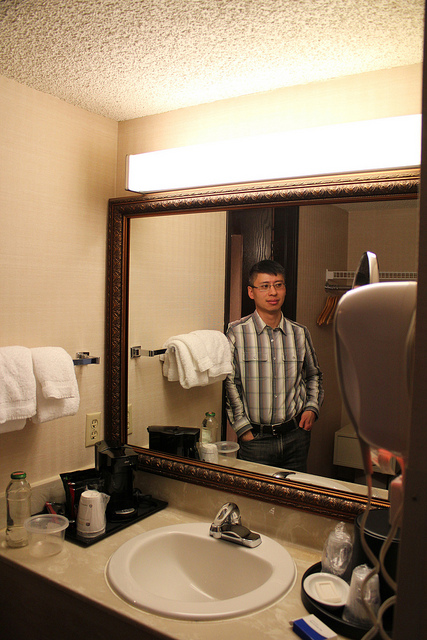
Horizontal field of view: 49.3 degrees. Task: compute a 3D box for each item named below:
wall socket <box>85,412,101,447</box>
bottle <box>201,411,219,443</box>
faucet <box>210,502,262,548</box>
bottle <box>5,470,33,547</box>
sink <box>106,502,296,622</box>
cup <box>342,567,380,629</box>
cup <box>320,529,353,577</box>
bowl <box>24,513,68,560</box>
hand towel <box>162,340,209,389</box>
[{"bbox_3d":[-0.424,0.380,1.633,0.007,0.113,0.075,0,2,31],"label":"wall socket"},{"bbox_3d":[-0.012,0.330,1.444,0.011,0.098,0.065,-2,2,-44],"label":"bottle"},{"bbox_3d":[0.056,0.545,1.261,0.138,0.098,0.076,4,6,30],"label":"faucet"},{"bbox_3d":[-0.557,0.510,1.323,0.073,0.192,0.170,-1,2,-21],"label":"bottle"},{"bbox_3d":[-0.032,0.615,1.131,0.451,0.226,0.382,-1,2,10],"label":"sink"},{"bbox_3d":[0.287,0.532,0.903,0.070,0.118,0.097,0,2,19],"label":"cup"},{"bbox_3d":[0.301,0.549,1.118,0.068,0.124,0.066,-2,14,0],"label":"cup"},{"bbox_3d":[-0.447,0.573,1.244,0.092,0.060,0.092,1,10,0],"label":"bowl"},{"bbox_3d":[-0.091,0.137,1.525,0.063,0.151,0.146,-5,-4,-35],"label":"hand towel"}]
